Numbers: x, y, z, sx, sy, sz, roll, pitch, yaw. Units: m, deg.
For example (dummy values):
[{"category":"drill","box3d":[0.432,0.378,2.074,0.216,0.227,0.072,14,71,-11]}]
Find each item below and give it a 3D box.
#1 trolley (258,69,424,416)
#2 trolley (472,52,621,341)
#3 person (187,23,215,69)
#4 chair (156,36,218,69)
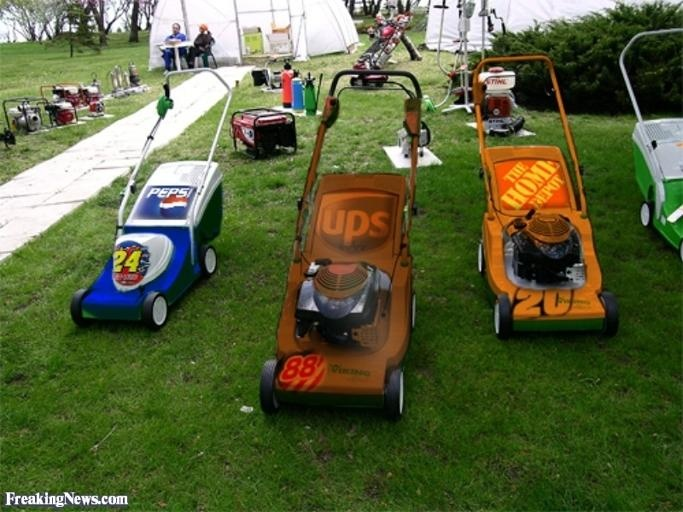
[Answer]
[{"category":"trolley","box3d":[0.068,-0.197,6.164,1.417,2.561,3.901,2,41,8]},{"category":"trolley","box3d":[2.550,-1.176,7.109,1.543,2.903,4.221,2,21,12]},{"category":"person","box3d":[-5.601,-8.269,20.519,0.914,1.752,0.829,8,37,-5]},{"category":"chair","box3d":[-5.990,-8.087,20.387,2.012,1.493,2.279,-9,22,-18]}]
